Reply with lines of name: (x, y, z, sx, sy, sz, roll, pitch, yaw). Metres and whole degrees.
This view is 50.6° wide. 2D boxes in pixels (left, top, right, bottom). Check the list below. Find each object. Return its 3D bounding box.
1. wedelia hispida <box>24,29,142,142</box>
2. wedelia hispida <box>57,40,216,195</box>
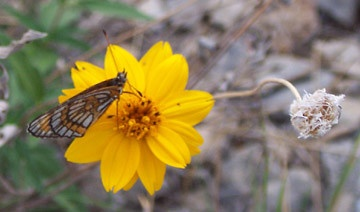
wedelia hispida: (-0.736, -0.099, 2.958, 0.754, 0.570, 0.381, -33, 6, 3)
wedelia hispida: (-0.304, 0.088, 2.893, 1.152, 0.292, 1.219, -24, 43, 0)
